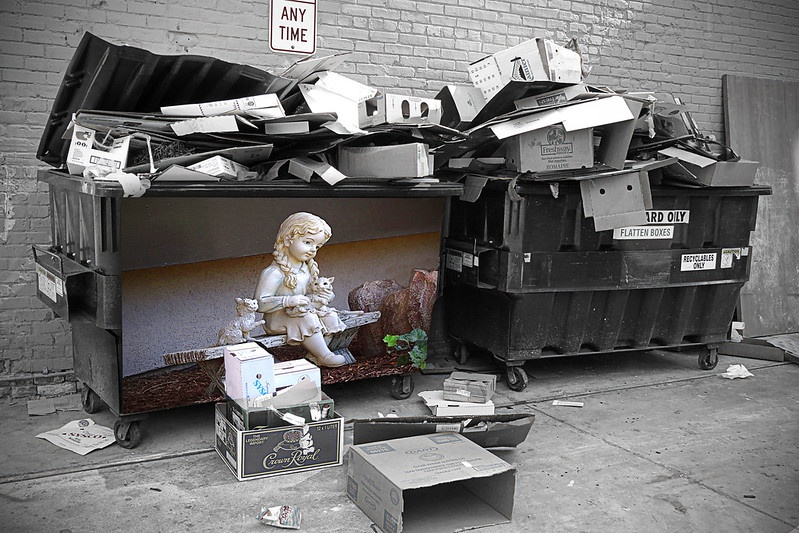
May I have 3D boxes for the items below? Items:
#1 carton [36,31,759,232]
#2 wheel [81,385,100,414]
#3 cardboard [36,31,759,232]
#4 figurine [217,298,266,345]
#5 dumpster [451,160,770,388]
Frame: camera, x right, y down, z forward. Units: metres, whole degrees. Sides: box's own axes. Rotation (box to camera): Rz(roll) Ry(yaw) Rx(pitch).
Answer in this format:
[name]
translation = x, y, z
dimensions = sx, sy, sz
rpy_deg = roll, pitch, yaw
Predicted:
[carton]
translation = -0.136, -1.129, 4.826
dimensions = 3.515, 0.848, 2.414
rpy_deg = 3, 11, -29
[wheel]
translation = -2.568, 1.113, 4.713
dimensions = 0.096, 0.235, 0.242
rpy_deg = -12, 48, -46
[cardboard]
translation = -0.136, -1.129, 4.826
dimensions = 3.515, 0.848, 2.414
rpy_deg = 3, 11, -29
[figurine]
translation = -1.255, 0.426, 4.362
dimensions = 0.399, 0.340, 0.155
rpy_deg = -12, 3, -29
[dumpster]
translation = 2.043, 0.140, 6.485
dimensions = 3.320, 1.613, 2.203
rpy_deg = -1, 1, -24
